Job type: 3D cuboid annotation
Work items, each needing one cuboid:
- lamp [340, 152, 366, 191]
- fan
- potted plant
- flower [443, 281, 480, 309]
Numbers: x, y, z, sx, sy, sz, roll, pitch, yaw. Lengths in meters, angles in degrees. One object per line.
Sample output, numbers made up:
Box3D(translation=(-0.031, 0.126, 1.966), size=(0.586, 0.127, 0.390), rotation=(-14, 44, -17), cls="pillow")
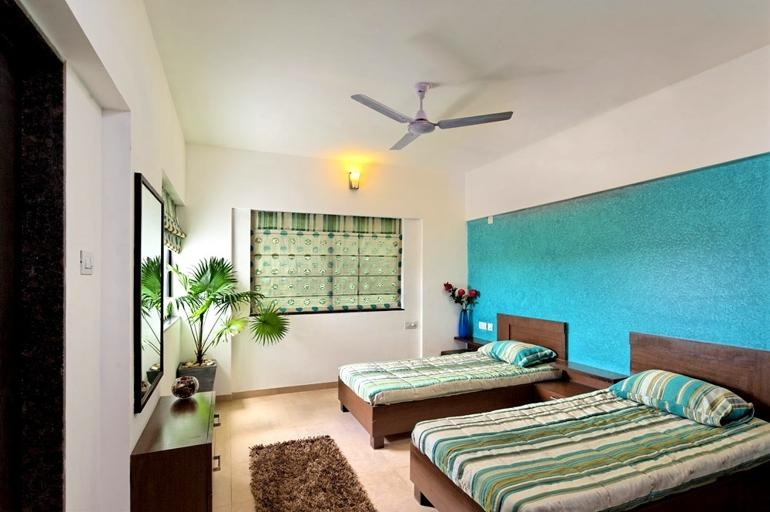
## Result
Box3D(translation=(-0.459, -1.184, 6.648), size=(0.469, 0.511, 0.185), rotation=(0, 0, -38), cls="lamp")
Box3D(translation=(0.347, -1.274, 4.485), size=(0.829, 0.269, 0.743), rotation=(9, -17, -18), cls="fan")
Box3D(translation=(-1.910, 0.711, 5.810), size=(1.346, 0.844, 1.291), rotation=(1, 1, -1), cls="potted plant")
Box3D(translation=(1.162, 0.599, 7.183), size=(0.439, 0.212, 0.441), rotation=(-4, -12, 30), cls="flower")
